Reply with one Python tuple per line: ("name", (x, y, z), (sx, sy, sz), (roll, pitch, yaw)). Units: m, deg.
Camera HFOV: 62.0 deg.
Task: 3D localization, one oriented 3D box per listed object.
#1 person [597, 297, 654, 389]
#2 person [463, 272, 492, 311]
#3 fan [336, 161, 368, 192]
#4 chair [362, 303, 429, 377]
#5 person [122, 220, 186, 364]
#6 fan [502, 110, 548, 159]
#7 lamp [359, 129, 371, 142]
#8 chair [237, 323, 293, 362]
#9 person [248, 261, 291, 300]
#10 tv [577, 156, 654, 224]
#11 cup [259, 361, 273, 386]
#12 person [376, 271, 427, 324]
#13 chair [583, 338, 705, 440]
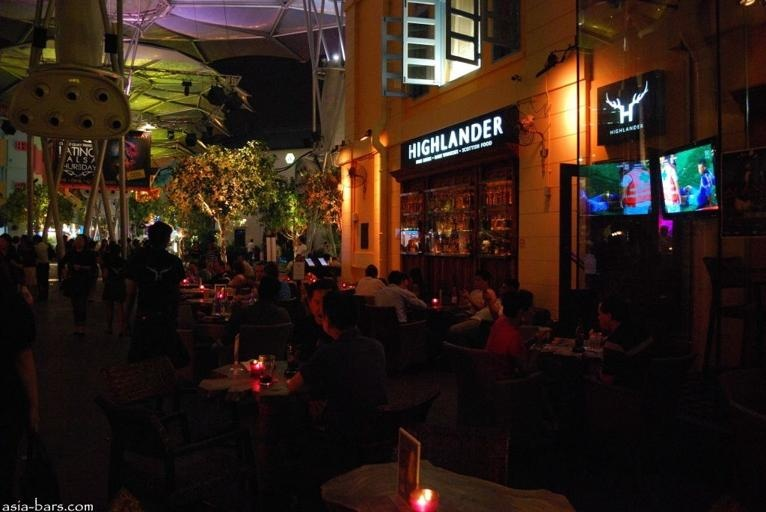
("person", (2.655, 0.979, 7.199), (0.576, 1.101, 0.751), (-3, 24, 15))
("person", (1.533, 0.624, 10.305), (0.471, 0.759, 0.457), (3, 3, -25))
("fan", (-0.782, -2.095, 16.983), (0.276, 0.856, 1.527), (-2, 2, -20))
("chair", (0.061, 1.293, 10.278), (1.059, 1.294, 0.902), (-2, 1, -31))
("person", (-2.531, 0.430, 7.143), (0.658, 1.635, 0.841), (-2, 2, -30))
("fan", (2.465, -2.006, 10.866), (0.316, 0.766, 0.748), (-2, 2, -21))
("lamp", (-0.421, -3.046, 16.092), (0.108, 0.287, 0.965), (-2, 3, -15))
("chair", (-1.556, 1.051, 8.453), (0.537, 0.736, 0.608), (0, 5, -19))
("person", (-2.096, 0.457, 11.644), (0.551, 0.775, 0.417), (-4, 5, 15))
("tv", (3.477, -0.969, 9.435), (0.965, 0.836, 0.146), (2, -1, 39))
("cup", (-1.169, 1.187, 6.349), (0.111, 0.211, 0.174), (-2, 2, -7))
("person", (0.316, 0.753, 10.601), (0.720, 1.043, 0.624), (10, 23, 40))
("chair", (2.825, 1.468, 7.107), (0.896, 1.263, 1.123), (11, -11, -29))
